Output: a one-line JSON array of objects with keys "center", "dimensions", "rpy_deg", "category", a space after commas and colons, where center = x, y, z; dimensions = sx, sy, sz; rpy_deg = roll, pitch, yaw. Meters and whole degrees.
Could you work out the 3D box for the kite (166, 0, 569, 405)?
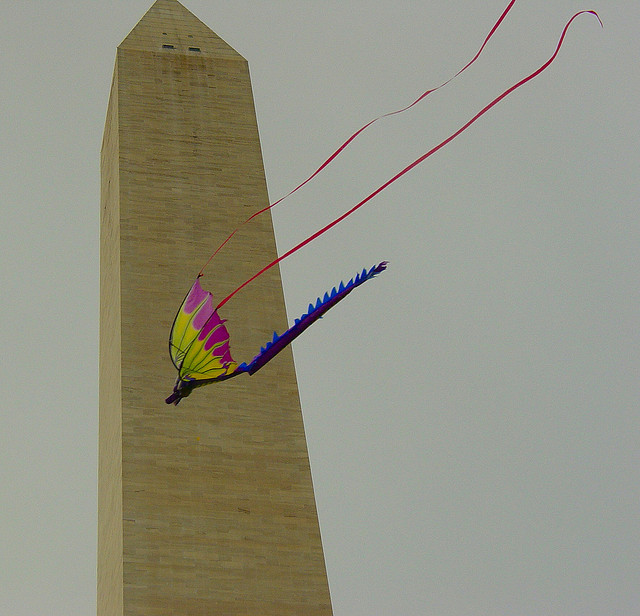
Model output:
[{"center": [-0.672, -1.346, 24.719], "dimensions": [7.403, 2.391, 0.357], "rpy_deg": [-37, -39, 14], "category": "kite"}]
